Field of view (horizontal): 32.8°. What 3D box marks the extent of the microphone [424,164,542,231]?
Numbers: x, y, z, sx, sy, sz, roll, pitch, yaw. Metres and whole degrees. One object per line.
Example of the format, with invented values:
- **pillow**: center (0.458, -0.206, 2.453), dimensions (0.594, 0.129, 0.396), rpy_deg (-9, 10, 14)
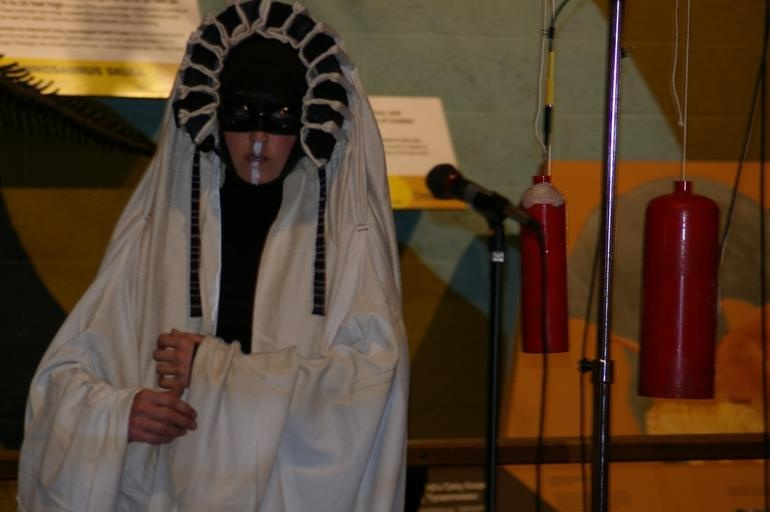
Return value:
- **microphone**: center (0.378, -0.222, 5.025), dimensions (0.455, 0.247, 0.159), rpy_deg (4, 4, 35)
